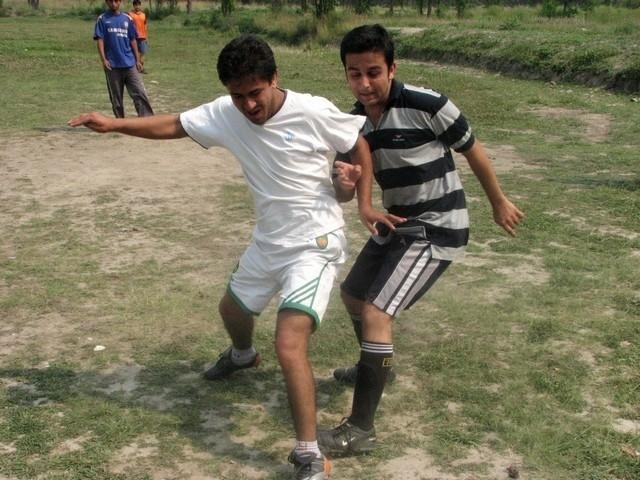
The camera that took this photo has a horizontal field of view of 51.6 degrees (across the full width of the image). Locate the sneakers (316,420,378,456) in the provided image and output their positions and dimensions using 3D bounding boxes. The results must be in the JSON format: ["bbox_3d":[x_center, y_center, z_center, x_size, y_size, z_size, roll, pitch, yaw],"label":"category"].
[{"bbox_3d":[0.164,1.297,4.366,0.428,0.208,0.173,2,22,-4],"label":"sneakers"}]
